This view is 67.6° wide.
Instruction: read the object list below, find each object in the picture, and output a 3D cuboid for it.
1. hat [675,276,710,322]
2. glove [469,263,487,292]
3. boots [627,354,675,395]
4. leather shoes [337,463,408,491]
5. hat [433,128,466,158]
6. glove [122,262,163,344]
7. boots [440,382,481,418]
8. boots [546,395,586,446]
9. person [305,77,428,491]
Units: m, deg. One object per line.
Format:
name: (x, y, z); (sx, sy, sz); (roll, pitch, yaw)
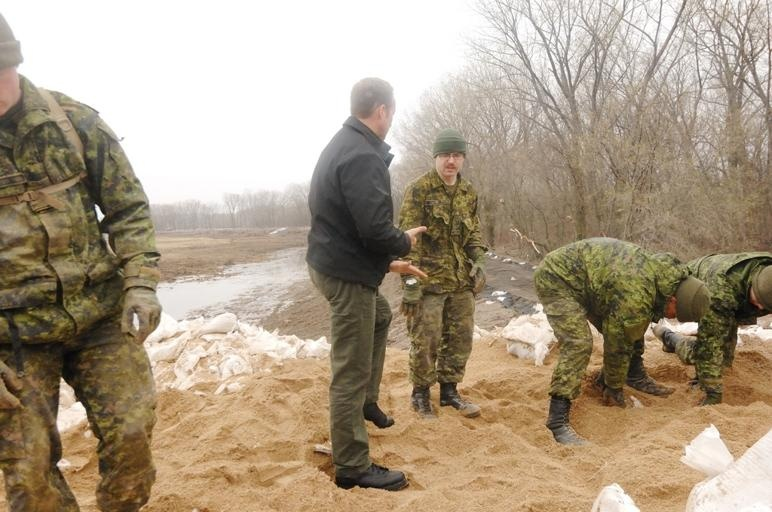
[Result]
hat: (2.728, 0.395, 5.122); (0.312, 0.408, 0.183); (2, 12, 12)
glove: (0.907, 0.196, 5.718); (0.085, 0.246, 0.188); (6, -36, 7)
boots: (2.824, 1.301, 6.218); (0.200, 0.368, 0.566); (8, -8, -17)
leather shoes: (-0.117, 1.739, 4.596); (0.559, 0.221, 0.209); (-2, -5, -7)
hat: (0.615, -1.113, 5.682); (0.285, 0.213, 0.273); (0, 4, -2)
glove: (-1.563, 0.285, 3.714); (0.355, 0.440, 0.153); (-3, -4, -10)
boots: (0.720, 1.473, 5.926); (0.565, 0.336, 0.199); (2, 6, 28)
boots: (1.657, 1.534, 5.329); (0.207, 0.420, 0.465); (19, -9, -28)
person: (-0.193, 0.228, 4.562); (0.844, 3.236, 0.818); (-2, 12, -8)
